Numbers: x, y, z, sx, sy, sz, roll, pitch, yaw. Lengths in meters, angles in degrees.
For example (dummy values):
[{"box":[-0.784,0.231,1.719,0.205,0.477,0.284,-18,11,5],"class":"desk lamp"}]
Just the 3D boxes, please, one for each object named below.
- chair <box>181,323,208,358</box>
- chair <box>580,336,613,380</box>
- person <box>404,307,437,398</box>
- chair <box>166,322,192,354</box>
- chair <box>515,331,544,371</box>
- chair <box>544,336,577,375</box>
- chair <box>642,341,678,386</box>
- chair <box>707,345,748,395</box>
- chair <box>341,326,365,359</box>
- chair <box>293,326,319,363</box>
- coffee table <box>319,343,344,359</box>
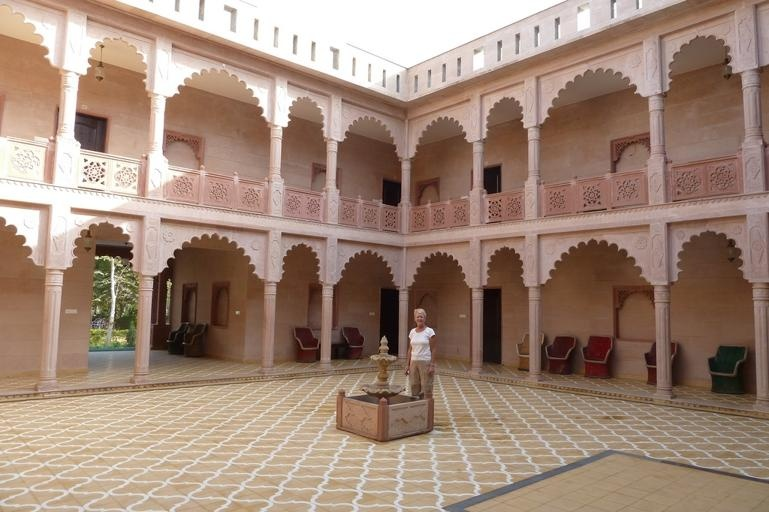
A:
[{"box":[-6.092,2.667,18.685,0.732,1.046,0.410,-4,-10,27],"class":"chair"},{"box":[5.701,2.702,15.700,0.736,0.863,0.683,0,9,37],"class":"chair"},{"box":[0.645,1.887,10.663,0.493,1.341,0.430,0,-9,7],"class":"person"},{"box":[-6.656,2.779,19.658,1.032,1.252,0.879,7,-13,-44],"class":"chair"},{"box":[4.258,2.788,17.107,0.760,0.872,0.825,0,4,26],"class":"chair"},{"box":[4.892,2.749,16.397,0.773,0.819,0.742,0,3,30],"class":"chair"},{"box":[6.914,2.671,14.614,1.068,0.899,1.032,-4,-3,-33],"class":"chair"},{"box":[7.960,2.623,13.594,0.857,0.935,0.824,-4,-1,-19],"class":"chair"},{"box":[-0.935,2.840,19.103,0.860,0.957,0.951,4,-12,-22],"class":"chair"},{"box":[-2.373,2.718,17.661,0.885,0.989,0.984,5,-9,-31],"class":"chair"},{"box":[-1.578,3.024,18.694,0.832,0.362,0.507,3,-6,-35],"class":"coffee table"}]
